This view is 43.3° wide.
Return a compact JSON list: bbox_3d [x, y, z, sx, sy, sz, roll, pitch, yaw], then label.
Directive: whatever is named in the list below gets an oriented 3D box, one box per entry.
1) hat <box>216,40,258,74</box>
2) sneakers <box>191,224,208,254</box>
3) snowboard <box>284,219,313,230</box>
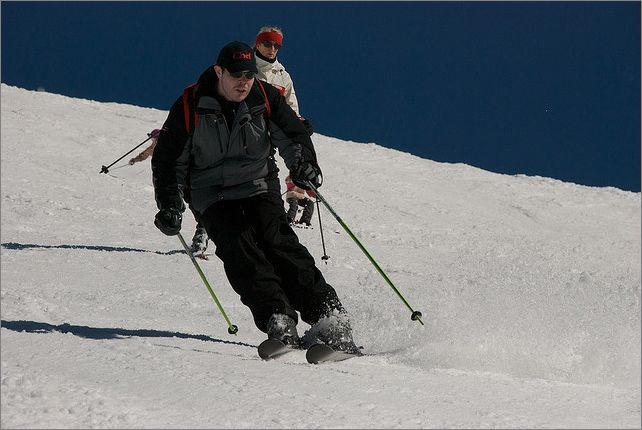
[{"bbox_3d":[-0.844,-1.622,8.329,0.416,0.315,0.248,12,12,-7],"label":"hat"},{"bbox_3d":[-1.720,0.348,11.443,0.209,0.261,0.597,-1,41,-5],"label":"sneakers"},{"bbox_3d":[-0.374,0.140,14.022,0.503,0.199,0.166,0,16,4],"label":"snowboard"}]
